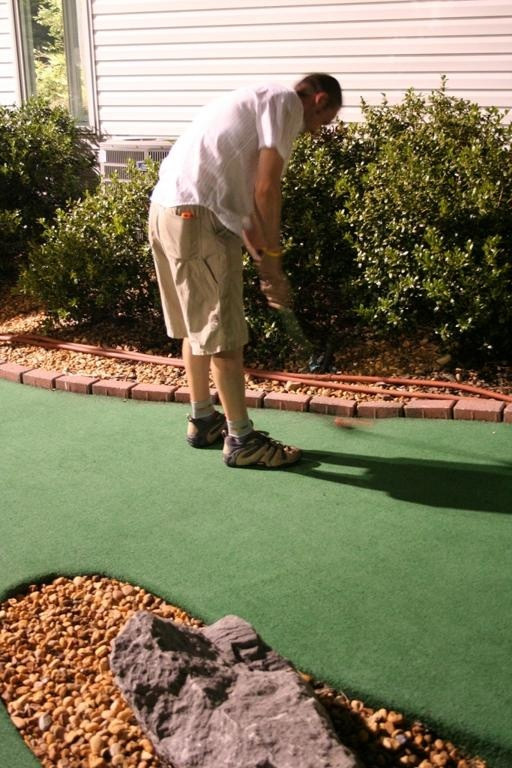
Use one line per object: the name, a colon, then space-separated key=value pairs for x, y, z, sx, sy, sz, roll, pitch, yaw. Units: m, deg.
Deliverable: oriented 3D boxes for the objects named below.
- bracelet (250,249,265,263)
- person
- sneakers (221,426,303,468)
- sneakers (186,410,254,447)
bracelet: x=0.006 y=-0.570 z=2.583 sx=0.058 sy=0.022 sz=0.079 roll=-2 pitch=49 yaw=-5
person: x=-0.043 y=-0.431 z=2.478 sx=0.798 sy=1.681 sz=0.516 roll=-3 pitch=13 yaw=4
sneakers: x=0.015 y=0.302 z=2.696 sx=0.385 sy=0.180 sz=0.150 roll=0 pitch=2 yaw=-8
sneakers: x=-0.210 y=0.209 z=2.976 sx=0.104 sy=0.142 sz=0.310 roll=8 pitch=21 yaw=28
